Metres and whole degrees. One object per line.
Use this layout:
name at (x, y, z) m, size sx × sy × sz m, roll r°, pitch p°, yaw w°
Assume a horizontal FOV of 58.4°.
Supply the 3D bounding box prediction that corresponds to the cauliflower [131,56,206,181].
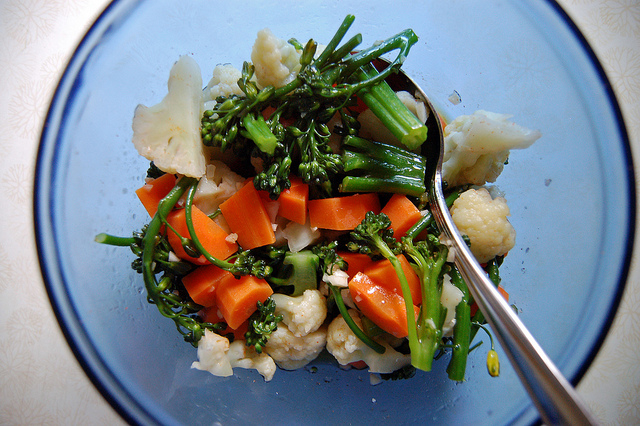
cauliflower at (-0.741, -0.447, 2.786) m, size 0.324 × 0.121 × 0.555 m, roll -4°, pitch 83°, yaw 1°

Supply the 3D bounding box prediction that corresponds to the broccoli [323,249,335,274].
broccoli at (0.051, 0.240, 2.890) m, size 0.031 × 0.035 × 0.139 m, roll 16°, pitch 91°, yaw 4°

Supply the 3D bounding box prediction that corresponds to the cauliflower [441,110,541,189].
cauliflower at (0.839, -0.322, 2.942) m, size 0.408 × 0.436 × 0.197 m, roll -35°, pitch 43°, yaw 0°

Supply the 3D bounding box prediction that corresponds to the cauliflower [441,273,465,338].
cauliflower at (0.653, 0.482, 2.879) m, size 0.129 × 0.107 × 0.379 m, roll 6°, pitch 104°, yaw 23°

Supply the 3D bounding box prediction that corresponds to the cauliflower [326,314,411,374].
cauliflower at (0.228, 0.698, 2.926) m, size 0.313 × 0.149 × 0.321 m, roll 14°, pitch 105°, yaw 15°

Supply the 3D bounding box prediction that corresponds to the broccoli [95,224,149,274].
broccoli at (-0.969, 0.155, 2.838) m, size 0.238 × 0.276 × 0.170 m, roll 10°, pitch 83°, yaw -17°

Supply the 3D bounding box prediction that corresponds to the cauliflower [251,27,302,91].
cauliflower at (-0.249, -0.841, 2.950) m, size 0.263 × 0.363 × 0.170 m, roll 36°, pitch 110°, yaw 1°

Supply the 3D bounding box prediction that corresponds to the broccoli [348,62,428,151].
broccoli at (0.417, -0.501, 2.898) m, size 0.114 × 0.125 × 0.431 m, roll -27°, pitch 44°, yaw 6°

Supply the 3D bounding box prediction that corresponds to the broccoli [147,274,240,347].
broccoli at (-0.638, 0.512, 2.888) m, size 0.385 × 0.178 × 0.396 m, roll 8°, pitch 43°, yaw -2°

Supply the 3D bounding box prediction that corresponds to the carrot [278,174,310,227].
carrot at (-0.126, -0.070, 2.868) m, size 0.161 × 0.128 × 0.251 m, roll 15°, pitch 112°, yaw 36°

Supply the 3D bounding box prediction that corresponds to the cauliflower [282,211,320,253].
cauliflower at (-0.094, 0.114, 2.967) m, size 0.192 × 0.063 × 0.230 m, roll -33°, pitch 43°, yaw -23°

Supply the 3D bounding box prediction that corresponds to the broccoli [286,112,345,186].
broccoli at (-0.026, -0.306, 2.863) m, size 0.150 × 0.223 × 0.378 m, roll -2°, pitch 75°, yaw -10°

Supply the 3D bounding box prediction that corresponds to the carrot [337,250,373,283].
carrot at (0.180, 0.317, 2.927) m, size 0.191 × 0.117 × 0.216 m, roll 0°, pitch 76°, yaw 3°

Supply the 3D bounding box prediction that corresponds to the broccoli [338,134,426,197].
broccoli at (0.321, -0.218, 2.852) m, size 0.348 × 0.124 × 0.326 m, roll -1°, pitch 84°, yaw -6°

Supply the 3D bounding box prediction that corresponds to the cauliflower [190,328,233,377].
cauliflower at (-0.550, 0.660, 2.888) m, size 0.236 × 0.217 × 0.118 m, roll 1°, pitch 119°, yaw -25°

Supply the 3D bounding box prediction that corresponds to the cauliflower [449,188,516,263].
cauliflower at (0.842, 0.053, 2.941) m, size 0.285 × 0.091 × 0.357 m, roll -25°, pitch 83°, yaw -2°

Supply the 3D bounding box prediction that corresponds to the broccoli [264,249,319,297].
broccoli at (-0.125, 0.316, 2.921) m, size 0.249 × 0.173 × 0.302 m, roll -7°, pitch 95°, yaw 7°

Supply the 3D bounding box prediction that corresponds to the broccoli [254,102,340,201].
broccoli at (-0.095, -0.282, 2.980) m, size 0.354 × 0.174 × 0.514 m, roll -6°, pitch 95°, yaw -2°

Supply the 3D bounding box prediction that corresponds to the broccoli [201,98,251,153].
broccoli at (-0.485, -0.418, 2.858) m, size 0.301 × 0.162 × 0.177 m, roll -53°, pitch 34°, yaw -9°

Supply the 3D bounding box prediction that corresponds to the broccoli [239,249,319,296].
broccoli at (-0.181, 0.290, 2.907) m, size 0.260 × 0.276 × 0.149 m, roll 19°, pitch 64°, yaw -16°

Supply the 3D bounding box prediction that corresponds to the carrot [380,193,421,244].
carrot at (0.407, 0.040, 2.856) m, size 0.131 × 0.101 × 0.185 m, roll 50°, pitch 121°, yaw 20°

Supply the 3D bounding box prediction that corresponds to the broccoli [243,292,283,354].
broccoli at (-0.291, 0.547, 2.886) m, size 0.159 × 0.157 × 0.320 m, roll 19°, pitch 107°, yaw 0°

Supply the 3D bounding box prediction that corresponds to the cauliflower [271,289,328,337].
cauliflower at (-0.094, 0.504, 2.908) m, size 0.242 × 0.116 × 0.232 m, roll 20°, pitch 92°, yaw 6°

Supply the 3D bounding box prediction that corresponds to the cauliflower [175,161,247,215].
cauliflower at (-0.537, -0.092, 2.875) m, size 0.257 × 0.079 × 0.299 m, roll 16°, pitch 67°, yaw 16°
